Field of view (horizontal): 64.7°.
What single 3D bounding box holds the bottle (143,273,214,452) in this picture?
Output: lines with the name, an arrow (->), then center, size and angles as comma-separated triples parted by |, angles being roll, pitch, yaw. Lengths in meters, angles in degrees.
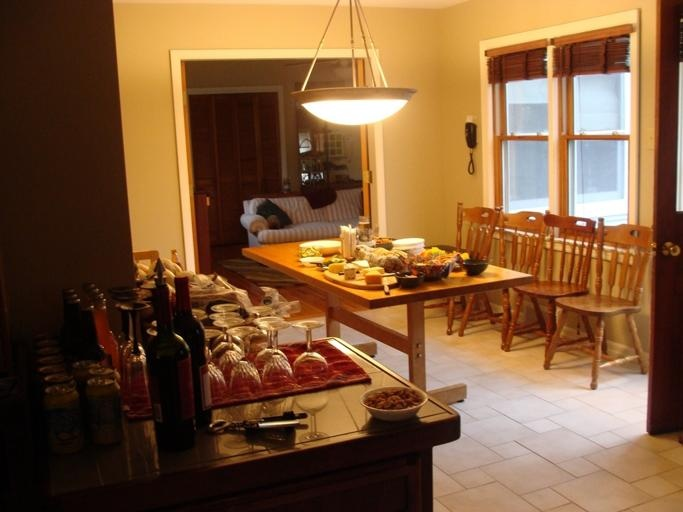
bottle -> -0.428, 0.272, 1.420 | 0.103, 0.456, 0.174 | 1, 12, 15

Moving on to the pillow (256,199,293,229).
pillow -> -1.114, -0.680, 8.718 | 0.560, 0.415, 0.620 | 2, 12, 17

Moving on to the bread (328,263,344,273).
bread -> -0.038, 0.084, 3.621 | 0.084, 0.052, 0.055 | 0, 3, 17

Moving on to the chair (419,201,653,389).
chair -> 1.843, 0.272, 4.894 | 1.278, 1.769, 1.150 | -4, 6, -37

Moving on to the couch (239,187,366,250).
couch -> -0.409, -0.611, 8.773 | 2.281, 0.819, 0.897 | -5, 5, -23

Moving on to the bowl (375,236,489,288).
bowl -> 0.567, 0.029, 3.704 | 0.698, 0.164, 0.769 | -6, 13, -19

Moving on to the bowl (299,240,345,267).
bowl -> -0.158, -0.029, 4.155 | 0.248, 0.061, 0.236 | -2, 12, 0

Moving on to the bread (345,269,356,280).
bread -> 0.053, 0.124, 3.436 | 0.077, 0.052, 0.058 | -2, 3, -41

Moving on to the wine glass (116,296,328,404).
wine glass -> -0.312, 0.252, 1.611 | 0.549, 0.166, 0.388 | -7, 12, -36

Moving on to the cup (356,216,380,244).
cup -> 0.237, -0.206, 4.260 | 0.168, 0.278, 0.288 | -2, 6, -3

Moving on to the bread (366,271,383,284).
bread -> 0.197, 0.137, 3.321 | 0.080, 0.045, 0.074 | 0, -1, -6

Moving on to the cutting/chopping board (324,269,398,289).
cutting/chopping board -> 0.088, 0.152, 3.474 | 0.563, 0.051, 0.303 | 4, 13, 25

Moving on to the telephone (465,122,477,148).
telephone -> 1.420, -1.319, 5.917 | 0.127, 0.289, 0.085 | 1, 13, 17
